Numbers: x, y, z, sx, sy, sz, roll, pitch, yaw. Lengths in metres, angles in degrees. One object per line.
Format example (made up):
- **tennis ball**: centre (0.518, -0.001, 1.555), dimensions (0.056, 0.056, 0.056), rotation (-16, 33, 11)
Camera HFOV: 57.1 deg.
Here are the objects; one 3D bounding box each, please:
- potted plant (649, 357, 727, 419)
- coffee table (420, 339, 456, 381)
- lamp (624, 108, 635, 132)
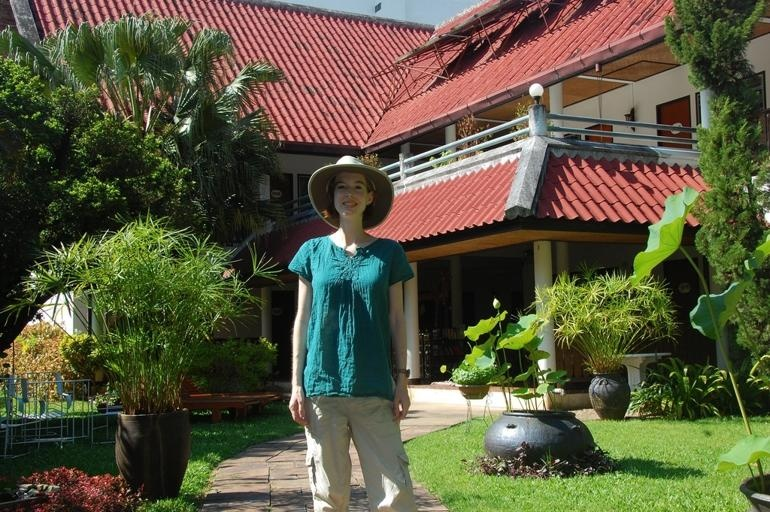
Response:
- **potted plant**: centre (6.087, 2.707, 14.483), dimensions (1.180, 0.759, 1.223), rotation (-4, 4, -26)
- **coffee table**: centre (1.459, 2.922, 19.744), dimensions (0.967, 1.006, 0.310), rotation (10, -17, -40)
- **lamp**: centre (7.160, -3.995, 20.625), dimensions (0.306, 0.688, 0.499), rotation (-5, -10, 19)
